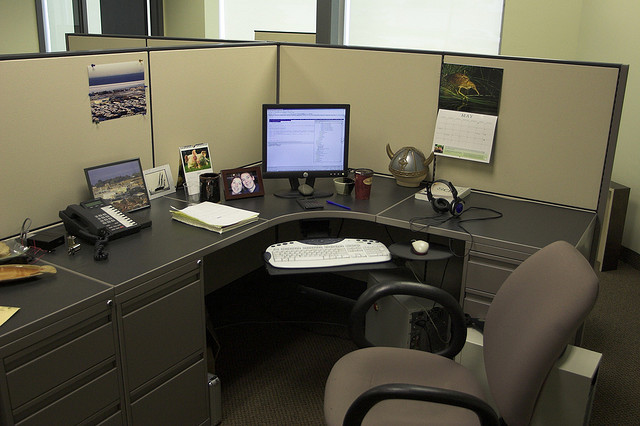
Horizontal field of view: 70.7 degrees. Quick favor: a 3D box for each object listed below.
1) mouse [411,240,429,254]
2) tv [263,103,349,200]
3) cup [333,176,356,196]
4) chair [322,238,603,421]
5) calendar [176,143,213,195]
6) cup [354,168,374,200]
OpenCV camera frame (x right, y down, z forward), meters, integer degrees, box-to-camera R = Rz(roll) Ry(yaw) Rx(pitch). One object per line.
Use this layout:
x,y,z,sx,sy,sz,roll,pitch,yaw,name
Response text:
0.527,0.174,2.364,0.062,0.064,0.044,1,21,-4,mouse
-0.092,-0.405,2.790,0.533,0.572,0.316,0,18,-5,tv
0.145,-0.162,2.763,0.093,0.065,0.138,3,6,22,cup
0.616,0.504,1.957,0.701,0.808,0.608,6,27,6,chair
-0.726,-0.272,2.621,0.109,0.289,0.209,18,25,37,calendar
0.230,-0.183,2.771,0.164,0.203,0.154,1,13,0,cup
